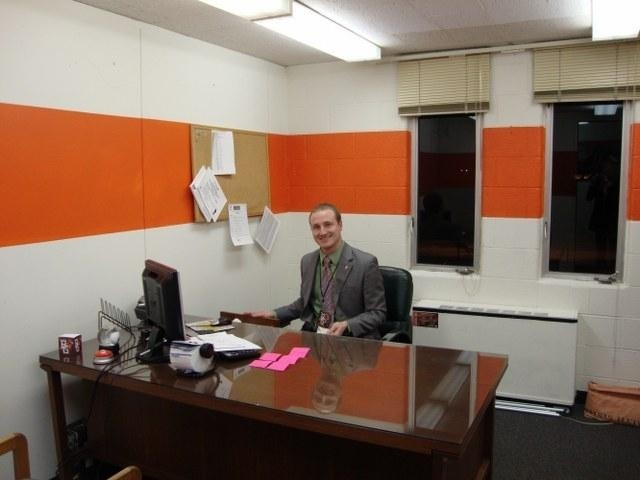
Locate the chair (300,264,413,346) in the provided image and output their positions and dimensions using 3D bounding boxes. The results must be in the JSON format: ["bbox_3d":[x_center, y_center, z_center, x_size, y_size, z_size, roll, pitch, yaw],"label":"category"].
[{"bbox_3d":[0.365,0.442,3.540,0.348,0.553,0.447,-1,-5,29],"label":"chair"}]

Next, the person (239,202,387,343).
[{"bbox_3d":[-0.006,0.314,3.991,1.027,1.498,0.888,-2,-1,38],"label":"person"}]

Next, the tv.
[{"bbox_3d":[-0.939,0.437,2.823,0.175,0.510,0.470,-5,8,-38],"label":"tv"}]
